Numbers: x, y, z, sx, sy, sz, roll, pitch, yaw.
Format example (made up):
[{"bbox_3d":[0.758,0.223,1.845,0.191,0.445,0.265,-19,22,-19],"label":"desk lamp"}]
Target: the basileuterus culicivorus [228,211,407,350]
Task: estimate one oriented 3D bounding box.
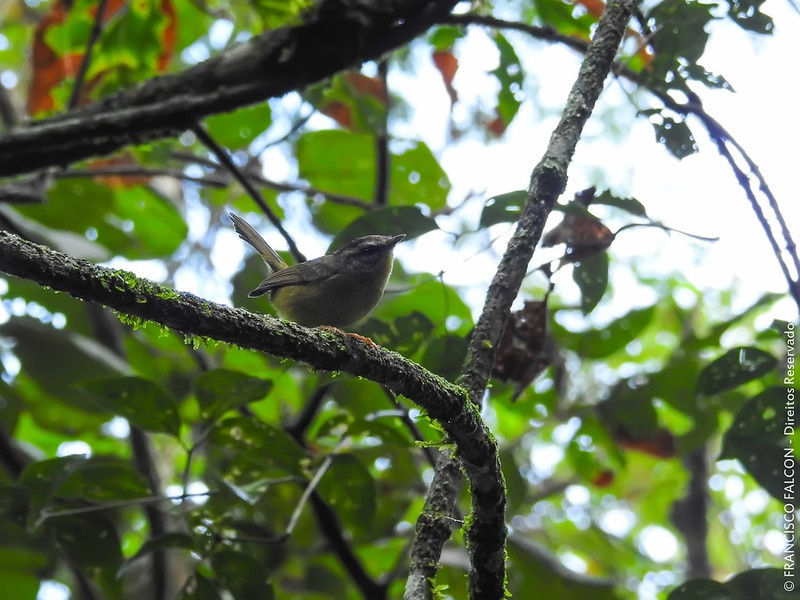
[{"bbox_3d":[-0.496,-0.120,5.919,1.465,0.532,1.022,5,-93,16],"label":"basileuterus culicivorus"}]
